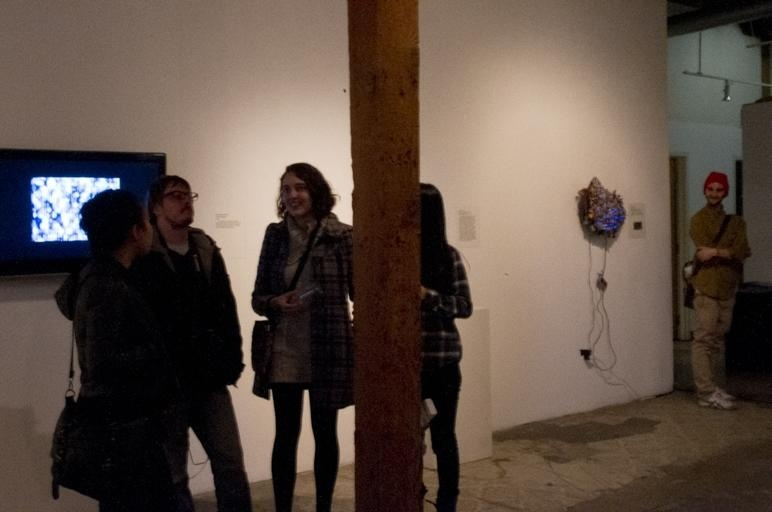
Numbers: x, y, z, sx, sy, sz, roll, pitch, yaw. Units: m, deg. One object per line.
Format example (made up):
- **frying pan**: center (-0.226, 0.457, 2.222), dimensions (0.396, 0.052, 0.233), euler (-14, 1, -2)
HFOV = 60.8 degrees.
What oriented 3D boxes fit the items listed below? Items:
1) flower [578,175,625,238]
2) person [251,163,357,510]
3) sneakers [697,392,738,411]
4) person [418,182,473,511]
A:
- **flower**: center (2.299, -0.513, 7.007), dimensions (0.580, 0.648, 0.191), euler (-4, 6, -36)
- **person**: center (-0.532, 0.516, 4.214), dimensions (0.635, 2.196, 0.420), euler (-1, 5, -4)
- **sneakers**: center (3.531, 1.542, 6.991), dimensions (0.255, 0.109, 0.176), euler (-4, -1, 23)
- **person**: center (0.370, 0.623, 4.240), dimensions (0.377, 2.165, 0.239), euler (-2, 5, -18)
